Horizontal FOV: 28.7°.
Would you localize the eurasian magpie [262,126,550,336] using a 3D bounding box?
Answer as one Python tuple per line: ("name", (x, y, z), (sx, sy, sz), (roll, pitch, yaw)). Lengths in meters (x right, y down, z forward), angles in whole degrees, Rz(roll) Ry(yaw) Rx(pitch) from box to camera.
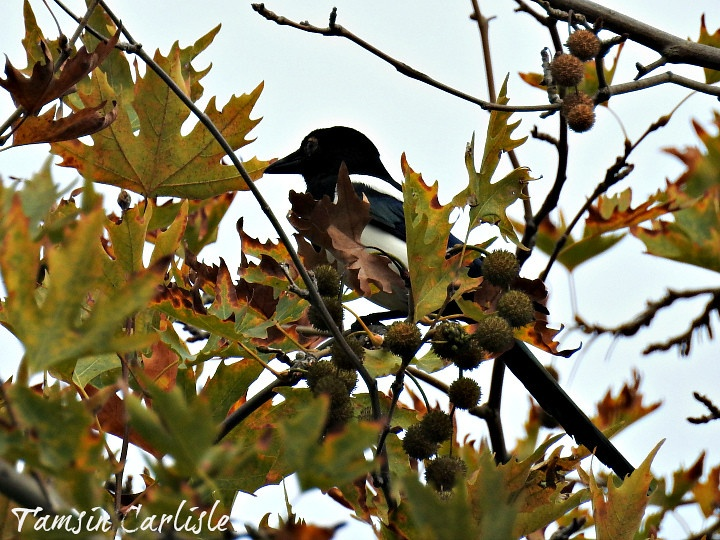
("eurasian magpie", (0.232, -0.412, 7.381), (1.542, 1.238, 0.585), (1, -4, 4))
